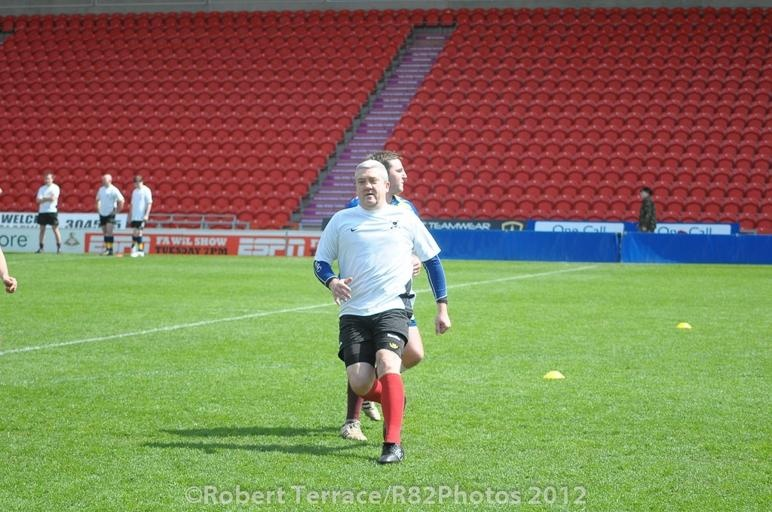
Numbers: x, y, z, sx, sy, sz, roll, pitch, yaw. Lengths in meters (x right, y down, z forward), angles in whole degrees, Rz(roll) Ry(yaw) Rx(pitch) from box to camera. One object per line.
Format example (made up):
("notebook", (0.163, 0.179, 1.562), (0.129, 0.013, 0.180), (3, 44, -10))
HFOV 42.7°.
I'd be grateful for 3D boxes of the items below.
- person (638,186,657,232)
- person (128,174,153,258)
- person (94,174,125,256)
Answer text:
("person", (6.757, -1.211, 25.499), (0.377, 1.244, 0.819), (8, 17, 29))
("person", (-6.461, -1.044, 25.995), (0.537, 2.222, 0.945), (-10, 18, -28))
("person", (-7.412, -1.092, 26.499), (0.624, 2.290, 0.947), (-6, 16, -18))
